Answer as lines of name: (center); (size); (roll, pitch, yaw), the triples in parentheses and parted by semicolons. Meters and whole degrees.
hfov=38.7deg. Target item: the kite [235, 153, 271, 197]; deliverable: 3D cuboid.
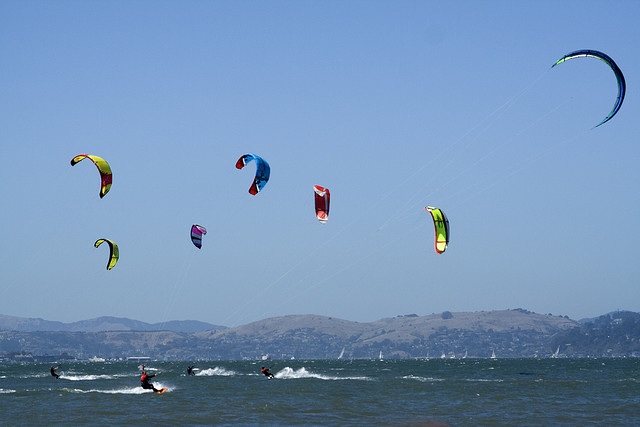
kite: (-6.328, -4.258, 95.610); (5.503, 2.193, 5.609); (27, -5, -11)

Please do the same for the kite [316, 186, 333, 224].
kite: (0.232, -1.277, 89.342); (1.672, 0.788, 5.129); (12, -41, 14)

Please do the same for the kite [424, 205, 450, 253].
kite: (10.190, 1.193, 77.029); (1.375, 4.126, 3.065); (-4, 11, -44)

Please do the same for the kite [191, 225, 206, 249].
kite: (-12.753, 2.390, 95.379); (1.162, 2.308, 2.443); (-1, -5, -9)
